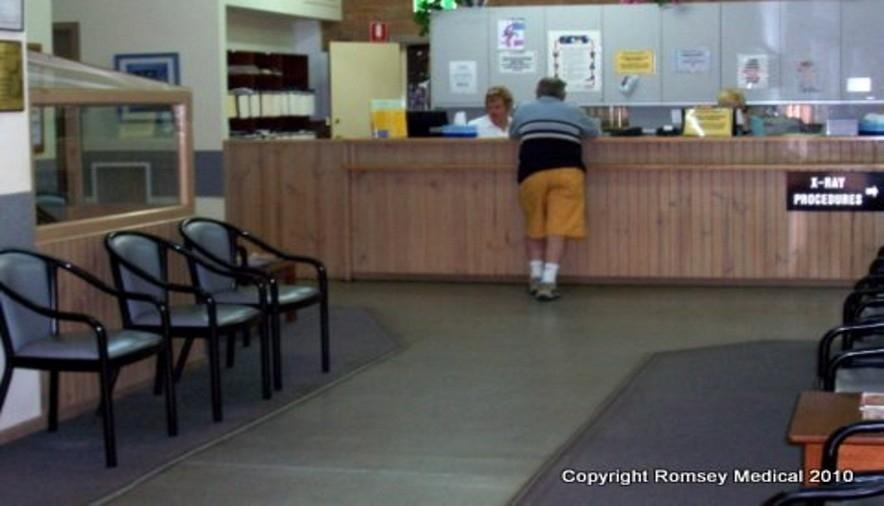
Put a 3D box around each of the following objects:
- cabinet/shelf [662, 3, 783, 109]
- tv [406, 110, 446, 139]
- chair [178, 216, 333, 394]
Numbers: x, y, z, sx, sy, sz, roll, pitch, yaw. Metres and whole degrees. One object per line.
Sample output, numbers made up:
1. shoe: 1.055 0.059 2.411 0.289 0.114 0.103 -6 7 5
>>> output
1. cabinet/shelf: 3.674 -2.706 9.787 1.337 1.313 0.338 -3 14 -8
2. tv: -0.185 -1.471 8.105 0.584 0.329 0.298 1 8 4
3. chair: -1.415 0.245 6.053 1.418 1.610 1.153 2 6 25
